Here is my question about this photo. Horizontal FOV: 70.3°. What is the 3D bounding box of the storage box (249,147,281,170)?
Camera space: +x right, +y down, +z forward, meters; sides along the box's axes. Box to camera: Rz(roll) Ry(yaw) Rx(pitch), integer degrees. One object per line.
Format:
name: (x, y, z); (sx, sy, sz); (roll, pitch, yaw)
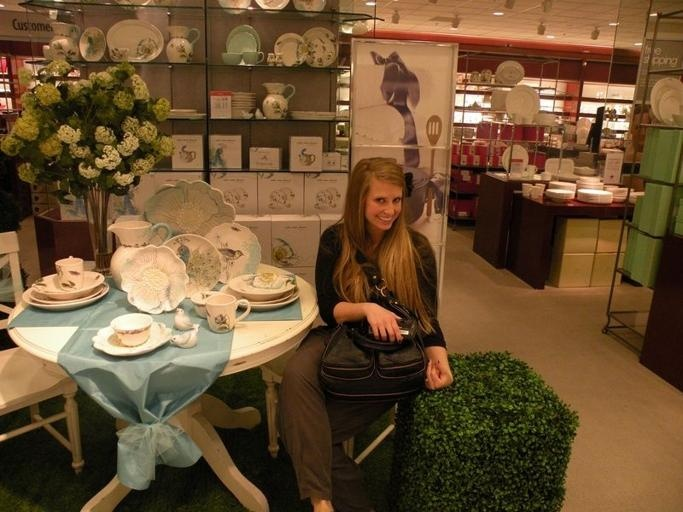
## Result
storage box: (-0.667, -0.825, 4.144); (0.312, 0.210, 0.174); (1, 27, -2)

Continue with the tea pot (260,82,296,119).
tea pot: (-0.559, -1.332, 4.165); (0.342, 0.361, 0.254); (-6, 23, -18)

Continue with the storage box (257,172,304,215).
storage box: (-0.551, -0.559, 4.183); (0.323, 0.314, 0.108); (0, 19, -4)

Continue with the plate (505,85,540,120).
plate: (2.185, -1.809, 5.788); (0.430, 0.426, 0.342); (2, 16, 4)

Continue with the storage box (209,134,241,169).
storage box: (-1.029, -0.895, 4.169); (0.289, 0.285, 0.149); (-7, 20, -35)

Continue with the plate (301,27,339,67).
plate: (-0.173, -1.716, 4.023); (0.295, 0.304, 0.133); (-1, 16, -5)

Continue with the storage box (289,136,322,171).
storage box: (-0.316, -0.844, 4.145); (0.277, 0.281, 0.277); (2, 5, -5)

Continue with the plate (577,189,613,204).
plate: (2.692, -0.631, 5.167); (0.219, 0.078, 0.226); (13, 21, 40)

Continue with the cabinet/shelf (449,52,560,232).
cabinet/shelf: (2.502, -2.055, 7.398); (0.935, 1.856, 0.595); (11, 16, 18)

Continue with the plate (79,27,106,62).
plate: (-1.997, -1.666, 3.846); (0.211, 0.248, 0.100); (-4, 17, -17)

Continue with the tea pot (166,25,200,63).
tea pot: (-1.292, -1.694, 3.942); (0.269, 0.286, 0.200); (-11, 21, -27)

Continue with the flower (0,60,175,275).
flower: (-1.194, -0.504, 2.582); (0.804, 1.180, 0.892); (-11, 34, -22)

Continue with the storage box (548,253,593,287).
storage box: (2.519, 0.152, 5.382); (0.351, 0.365, 0.361); (-1, 10, -4)

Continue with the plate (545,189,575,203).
plate: (2.374, -0.653, 5.236); (0.309, 0.124, 0.321); (6, 17, 16)

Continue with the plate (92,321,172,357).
plate: (-0.853, 0.333, 1.957); (0.305, 0.061, 0.212); (-5, 18, -20)

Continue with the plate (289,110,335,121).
plate: (-0.247, -1.186, 4.112); (0.379, 0.075, 0.225); (-2, 17, -9)

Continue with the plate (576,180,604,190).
plate: (2.796, -0.810, 5.450); (0.165, 0.085, 0.171); (6, 12, 33)

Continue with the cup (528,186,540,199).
cup: (2.165, -0.709, 5.409); (0.155, 0.137, 0.129); (6, 13, 38)

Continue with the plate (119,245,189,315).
plate: (-0.853, 0.109, 2.207); (0.284, 0.319, 0.102); (1, -4, -6)

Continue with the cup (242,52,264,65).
cup: (-0.720, -1.612, 4.016); (0.189, 0.097, 0.125); (-19, 32, -38)

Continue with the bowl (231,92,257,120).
bowl: (-0.824, -1.250, 4.031); (0.187, 0.214, 0.204); (1, 16, 0)

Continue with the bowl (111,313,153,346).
bowl: (-0.852, 0.282, 1.957); (0.134, 0.070, 0.135); (1, 15, 0)

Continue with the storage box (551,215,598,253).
storage box: (2.479, -0.246, 5.286); (0.438, 0.462, 0.331); (-2, 10, -4)

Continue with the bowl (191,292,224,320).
bowl: (-0.615, 0.223, 2.211); (0.118, 0.084, 0.125); (1, 16, 0)

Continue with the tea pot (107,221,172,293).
tea pot: (-0.994, -0.007, 2.413); (0.278, 0.326, 0.200); (-2, 11, -23)

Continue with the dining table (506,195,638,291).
dining table: (2.536, -0.301, 5.564); (1.324, 1.320, 0.954); (0, 12, -3)

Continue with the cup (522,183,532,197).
cup: (2.105, -0.747, 5.495); (0.159, 0.160, 0.108); (-1, 9, 3)

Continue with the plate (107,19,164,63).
plate: (-1.632, -1.716, 3.881); (0.423, 0.064, 0.442); (-9, -12, 22)

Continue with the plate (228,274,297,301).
plate: (-0.389, 0.159, 2.302); (0.175, 0.042, 0.181); (-1, 23, -3)

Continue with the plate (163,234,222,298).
plate: (-0.701, 0.027, 2.352); (0.276, 0.294, 0.060); (-1, 9, -6)

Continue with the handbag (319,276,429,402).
handbag: (0.151, 0.394, 2.217); (0.455, 0.340, 0.653); (-2, 44, -1)

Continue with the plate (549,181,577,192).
plate: (2.438, -0.766, 5.311); (0.218, 0.054, 0.227); (2, 13, 9)

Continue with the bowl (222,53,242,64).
bowl: (-0.901, -1.579, 3.939); (0.105, 0.062, 0.108); (-1, 20, 0)

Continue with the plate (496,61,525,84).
plate: (2.378, -2.598, 6.879); (0.347, 0.358, 0.559); (9, 18, 26)

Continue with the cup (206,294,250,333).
cup: (-0.488, 0.247, 2.093); (0.182, 0.141, 0.119); (-3, 18, -9)

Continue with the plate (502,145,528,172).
plate: (2.158, -1.221, 5.999); (0.301, 0.315, 0.690); (6, 17, 17)

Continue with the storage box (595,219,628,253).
storage box: (2.804, -0.221, 5.056); (0.322, 0.339, 0.331); (0, 7, 1)

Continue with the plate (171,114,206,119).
plate: (-1.279, -1.154, 4.005); (0.284, 0.041, 0.135); (-5, 17, -18)

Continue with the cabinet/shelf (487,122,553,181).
cabinet/shelf: (2.512, -1.595, 7.147); (0.548, 0.635, 0.849); (-4, 16, -3)

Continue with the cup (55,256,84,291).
cup: (-1.268, 0.080, 2.260); (0.110, 0.145, 0.145); (-1, 16, -19)
